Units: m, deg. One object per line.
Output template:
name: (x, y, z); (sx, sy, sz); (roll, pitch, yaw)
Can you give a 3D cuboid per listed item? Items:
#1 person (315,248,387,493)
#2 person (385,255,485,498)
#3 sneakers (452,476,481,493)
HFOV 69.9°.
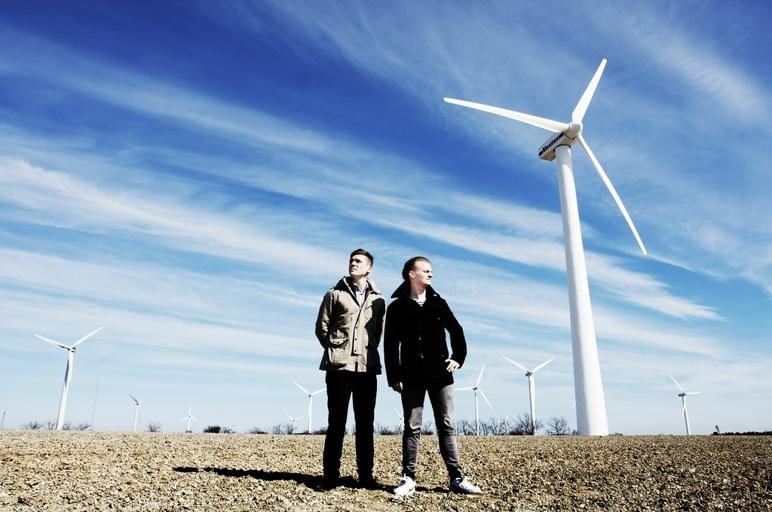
person: (-0.634, 1.939, 9.679); (1.219, 4.096, 0.647); (4, -9, -13)
person: (0.682, 2.031, 9.590); (1.473, 4.007, 0.506); (2, -9, -1)
sneakers: (1.316, 3.941, 9.540); (0.602, 0.251, 0.210); (0, -12, 15)
